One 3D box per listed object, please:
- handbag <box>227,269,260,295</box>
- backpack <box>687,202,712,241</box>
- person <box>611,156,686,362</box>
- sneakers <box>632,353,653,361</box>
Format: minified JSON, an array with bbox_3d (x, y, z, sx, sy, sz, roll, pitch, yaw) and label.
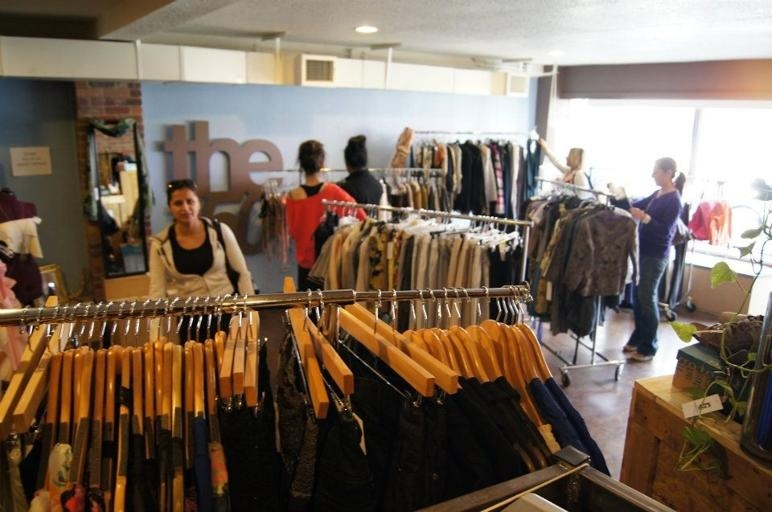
[{"bbox_3d":[-1.090,0.200,4.021,0.222,0.295,0.109,-6,-12,-6],"label":"handbag"},{"bbox_3d":[3.529,-0.396,5.952,0.245,0.436,0.122,7,15,29],"label":"backpack"},{"bbox_3d":[2.477,0.044,5.152,0.565,1.971,0.854,6,15,28],"label":"person"},{"bbox_3d":[2.508,0.997,5.192,0.175,0.072,0.085,-3,8,-17],"label":"sneakers"}]
